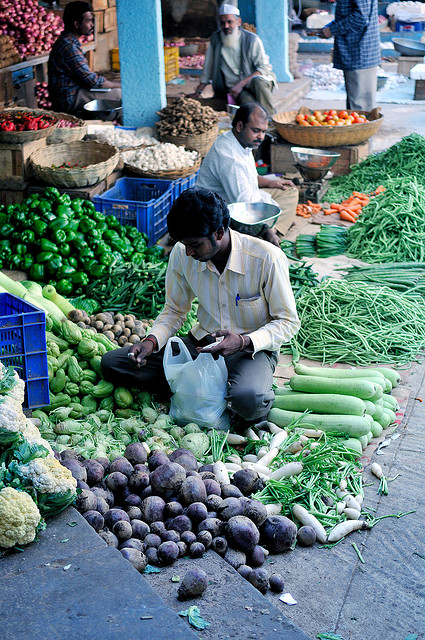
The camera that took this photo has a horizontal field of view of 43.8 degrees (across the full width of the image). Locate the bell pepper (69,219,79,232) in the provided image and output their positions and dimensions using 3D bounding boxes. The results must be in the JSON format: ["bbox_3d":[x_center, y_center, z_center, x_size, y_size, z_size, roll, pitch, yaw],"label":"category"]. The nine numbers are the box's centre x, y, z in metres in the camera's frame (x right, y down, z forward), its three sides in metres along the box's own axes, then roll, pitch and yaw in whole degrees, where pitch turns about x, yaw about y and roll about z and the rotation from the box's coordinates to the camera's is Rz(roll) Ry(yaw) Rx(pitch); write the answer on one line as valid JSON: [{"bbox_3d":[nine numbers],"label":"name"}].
[{"bbox_3d":[-1.213,-0.822,4.608,0.103,0.106,0.178,-1,1,-20],"label":"bell pepper"}]

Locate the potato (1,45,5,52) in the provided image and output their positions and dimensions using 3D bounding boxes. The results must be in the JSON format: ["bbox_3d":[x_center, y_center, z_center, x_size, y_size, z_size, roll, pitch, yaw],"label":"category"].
[{"bbox_3d":[-3.240,-4.169,8.141,0.050,0.081,0.073,1,11,24],"label":"potato"}]

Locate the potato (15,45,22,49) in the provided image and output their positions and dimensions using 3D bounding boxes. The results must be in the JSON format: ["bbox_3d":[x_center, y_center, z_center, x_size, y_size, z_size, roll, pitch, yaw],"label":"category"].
[{"bbox_3d":[-3.322,-4.665,9.047,0.092,0.064,0.029,-2,12,-12],"label":"potato"}]

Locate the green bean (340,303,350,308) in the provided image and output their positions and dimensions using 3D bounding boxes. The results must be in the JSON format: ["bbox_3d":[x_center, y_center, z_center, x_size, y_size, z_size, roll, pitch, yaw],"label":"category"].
[{"bbox_3d":[1.038,-0.110,4.164,0.080,0.026,0.035,-4,11,-23],"label":"green bean"}]

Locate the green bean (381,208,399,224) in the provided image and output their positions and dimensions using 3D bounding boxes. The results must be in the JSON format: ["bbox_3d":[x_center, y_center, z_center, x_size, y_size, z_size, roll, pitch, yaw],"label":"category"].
[{"bbox_3d":[1.883,-1.111,5.607,0.050,0.065,0.276,-37,61,-9],"label":"green bean"}]

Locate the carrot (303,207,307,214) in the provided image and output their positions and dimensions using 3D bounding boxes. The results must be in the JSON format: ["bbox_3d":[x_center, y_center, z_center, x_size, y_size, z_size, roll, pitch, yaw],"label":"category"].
[{"bbox_3d":[1.151,-1.356,6.600,0.025,0.069,0.075,9,7,-9],"label":"carrot"}]

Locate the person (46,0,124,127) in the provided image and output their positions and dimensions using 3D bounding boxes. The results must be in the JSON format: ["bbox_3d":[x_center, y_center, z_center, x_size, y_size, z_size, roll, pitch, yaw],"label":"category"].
[{"bbox_3d":[-1.902,-3.770,7.761,0.910,1.717,0.703,-5,13,-25],"label":"person"}]

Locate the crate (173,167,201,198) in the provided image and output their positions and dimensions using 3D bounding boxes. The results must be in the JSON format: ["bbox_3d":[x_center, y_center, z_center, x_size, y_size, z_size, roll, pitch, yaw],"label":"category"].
[{"bbox_3d":[-0.268,-1.520,5.869,0.172,0.305,0.642,2,10,10],"label":"crate"}]

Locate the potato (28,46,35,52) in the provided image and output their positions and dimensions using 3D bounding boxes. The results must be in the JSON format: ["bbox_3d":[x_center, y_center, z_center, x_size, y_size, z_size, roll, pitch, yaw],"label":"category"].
[{"bbox_3d":[-3.176,-4.734,9.268,0.052,0.077,0.094,44,30,2],"label":"potato"}]

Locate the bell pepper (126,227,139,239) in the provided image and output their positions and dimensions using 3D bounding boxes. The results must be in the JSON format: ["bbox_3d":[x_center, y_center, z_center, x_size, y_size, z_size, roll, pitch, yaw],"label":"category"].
[{"bbox_3d":[-0.749,-0.802,4.982,0.114,0.103,0.122,19,-6,-7],"label":"bell pepper"}]

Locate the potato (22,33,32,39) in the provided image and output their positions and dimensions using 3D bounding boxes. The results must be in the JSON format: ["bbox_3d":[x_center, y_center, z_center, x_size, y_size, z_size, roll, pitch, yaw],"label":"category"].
[{"bbox_3d":[-3.200,-4.859,9.062,0.146,0.075,0.089,-2,11,-10],"label":"potato"}]

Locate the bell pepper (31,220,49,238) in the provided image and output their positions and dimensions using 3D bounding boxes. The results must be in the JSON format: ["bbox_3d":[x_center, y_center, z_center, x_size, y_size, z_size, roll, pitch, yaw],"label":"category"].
[{"bbox_3d":[-1.474,-0.765,4.494,0.103,0.096,0.134,16,37,-56],"label":"bell pepper"}]

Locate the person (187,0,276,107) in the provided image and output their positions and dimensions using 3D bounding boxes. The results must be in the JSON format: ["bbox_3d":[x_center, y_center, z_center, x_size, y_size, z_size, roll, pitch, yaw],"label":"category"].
[{"bbox_3d":[0.323,-3.966,8.275,0.883,1.330,1.177,-6,13,-29],"label":"person"}]

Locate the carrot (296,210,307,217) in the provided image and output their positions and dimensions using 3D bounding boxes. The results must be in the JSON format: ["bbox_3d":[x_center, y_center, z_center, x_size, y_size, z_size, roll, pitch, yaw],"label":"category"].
[{"bbox_3d":[1.076,-1.311,6.534,0.161,0.039,0.041,11,12,-13],"label":"carrot"}]

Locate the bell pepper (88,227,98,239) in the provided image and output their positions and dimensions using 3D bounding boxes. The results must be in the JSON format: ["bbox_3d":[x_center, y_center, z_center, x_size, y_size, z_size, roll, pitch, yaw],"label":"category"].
[{"bbox_3d":[-1.054,-0.762,4.630,0.081,0.086,0.079,-2,11,-11],"label":"bell pepper"}]

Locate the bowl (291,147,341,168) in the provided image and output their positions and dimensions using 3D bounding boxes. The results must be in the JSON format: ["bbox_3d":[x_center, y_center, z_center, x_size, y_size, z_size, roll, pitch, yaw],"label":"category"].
[{"bbox_3d":[1.248,-2.015,6.584,0.464,0.160,0.421,9,26,17],"label":"bowl"}]

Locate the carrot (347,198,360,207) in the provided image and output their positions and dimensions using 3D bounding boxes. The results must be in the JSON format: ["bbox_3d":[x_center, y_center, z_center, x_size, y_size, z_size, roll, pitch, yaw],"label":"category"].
[{"bbox_3d":[1.771,-1.482,6.664,0.061,0.069,0.222,-10,23,41],"label":"carrot"}]

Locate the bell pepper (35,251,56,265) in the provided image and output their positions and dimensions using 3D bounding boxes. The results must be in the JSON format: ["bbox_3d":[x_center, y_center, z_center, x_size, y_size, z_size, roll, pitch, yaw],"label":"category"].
[{"bbox_3d":[-1.382,-0.512,4.369,0.131,0.047,0.096,-23,31,-8],"label":"bell pepper"}]

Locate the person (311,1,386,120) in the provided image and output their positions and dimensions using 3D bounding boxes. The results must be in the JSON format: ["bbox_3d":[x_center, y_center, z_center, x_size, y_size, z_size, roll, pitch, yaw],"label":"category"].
[{"bbox_3d":[2.233,-4.189,8.453,0.800,1.673,0.742,-8,14,-36],"label":"person"}]

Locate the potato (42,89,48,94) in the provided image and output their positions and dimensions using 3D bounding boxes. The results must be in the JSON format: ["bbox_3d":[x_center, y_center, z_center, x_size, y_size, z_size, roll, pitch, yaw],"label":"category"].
[{"bbox_3d":[-3.017,-4.087,9.484,0.041,0.091,0.087,5,12,24],"label":"potato"}]

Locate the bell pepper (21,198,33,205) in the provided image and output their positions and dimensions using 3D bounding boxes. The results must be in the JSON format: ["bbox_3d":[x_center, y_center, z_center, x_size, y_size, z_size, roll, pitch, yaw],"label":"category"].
[{"bbox_3d":[-1.679,-1.062,4.764,0.093,0.033,0.095,-4,22,48],"label":"bell pepper"}]

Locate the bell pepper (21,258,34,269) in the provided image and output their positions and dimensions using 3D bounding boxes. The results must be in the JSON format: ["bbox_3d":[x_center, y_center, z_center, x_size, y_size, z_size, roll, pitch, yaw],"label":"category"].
[{"bbox_3d":[-1.545,-0.467,4.392,0.057,0.093,0.070,11,44,-45],"label":"bell pepper"}]

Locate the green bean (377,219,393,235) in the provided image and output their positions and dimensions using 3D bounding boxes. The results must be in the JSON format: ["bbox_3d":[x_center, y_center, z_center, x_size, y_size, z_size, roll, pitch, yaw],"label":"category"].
[{"bbox_3d":[1.801,-0.987,5.541,0.056,0.068,0.258,22,60,25],"label":"green bean"}]

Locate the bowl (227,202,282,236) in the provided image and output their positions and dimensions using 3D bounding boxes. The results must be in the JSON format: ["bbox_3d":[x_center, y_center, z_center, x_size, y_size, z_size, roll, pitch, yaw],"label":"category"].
[{"bbox_3d":[0.332,-0.879,4.476,0.443,0.160,0.450,-1,33,1],"label":"bowl"}]

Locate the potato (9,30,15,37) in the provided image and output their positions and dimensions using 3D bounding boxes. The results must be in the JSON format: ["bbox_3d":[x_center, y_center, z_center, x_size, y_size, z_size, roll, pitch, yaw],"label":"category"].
[{"bbox_3d":[-3.387,-4.794,8.874,0.100,0.089,0.052,1,1,-12],"label":"potato"}]

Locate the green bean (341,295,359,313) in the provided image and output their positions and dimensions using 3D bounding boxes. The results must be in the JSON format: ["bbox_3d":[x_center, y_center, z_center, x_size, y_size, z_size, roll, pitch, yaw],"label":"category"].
[{"bbox_3d":[1.099,-0.137,4.215,0.285,0.040,0.049,-41,30,-27],"label":"green bean"}]

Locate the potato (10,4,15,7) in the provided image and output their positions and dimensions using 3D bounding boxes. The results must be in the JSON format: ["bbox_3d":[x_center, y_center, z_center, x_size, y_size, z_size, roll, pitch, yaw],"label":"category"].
[{"bbox_3d":[-3.279,-5.127,8.628,0.019,0.048,0.085,4,11,21],"label":"potato"}]

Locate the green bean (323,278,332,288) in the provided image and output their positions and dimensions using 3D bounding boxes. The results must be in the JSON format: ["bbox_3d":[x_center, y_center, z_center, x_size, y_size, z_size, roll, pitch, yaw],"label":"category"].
[{"bbox_3d":[0.948,-0.296,4.361,0.018,0.075,0.075,24,31,-3],"label":"green bean"}]

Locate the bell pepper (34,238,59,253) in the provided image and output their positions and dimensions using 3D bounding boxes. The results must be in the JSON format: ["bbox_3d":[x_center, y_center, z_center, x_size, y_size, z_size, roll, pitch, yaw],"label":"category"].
[{"bbox_3d":[-1.391,-0.608,4.400,0.175,0.095,0.071,8,-31,-30],"label":"bell pepper"}]

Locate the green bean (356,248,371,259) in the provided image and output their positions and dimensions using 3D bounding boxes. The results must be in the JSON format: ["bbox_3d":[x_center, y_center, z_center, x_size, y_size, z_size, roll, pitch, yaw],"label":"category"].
[{"bbox_3d":[1.541,-0.682,5.419,0.124,0.029,0.117,-40,1,-36],"label":"green bean"}]

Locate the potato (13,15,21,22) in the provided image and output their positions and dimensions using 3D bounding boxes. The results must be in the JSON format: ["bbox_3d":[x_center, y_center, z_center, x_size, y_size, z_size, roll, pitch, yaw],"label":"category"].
[{"bbox_3d":[-3.241,-4.981,8.757,0.086,0.044,0.085,21,41,34],"label":"potato"}]

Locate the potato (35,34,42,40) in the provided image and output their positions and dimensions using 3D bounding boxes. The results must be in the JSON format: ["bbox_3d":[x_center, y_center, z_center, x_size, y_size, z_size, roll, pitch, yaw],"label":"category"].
[{"bbox_3d":[-3.063,-4.955,9.275,0.068,0.080,0.042,10,6,12],"label":"potato"}]

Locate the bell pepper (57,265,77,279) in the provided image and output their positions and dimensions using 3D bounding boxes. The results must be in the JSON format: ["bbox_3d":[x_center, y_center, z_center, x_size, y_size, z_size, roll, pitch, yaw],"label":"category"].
[{"bbox_3d":[-1.204,-0.391,4.337,0.146,0.109,0.074,-3,11,-15],"label":"bell pepper"}]

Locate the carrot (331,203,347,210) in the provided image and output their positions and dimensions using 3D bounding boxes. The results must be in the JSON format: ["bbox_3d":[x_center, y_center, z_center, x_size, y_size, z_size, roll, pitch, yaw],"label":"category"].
[{"bbox_3d":[1.581,-1.418,6.640,0.166,0.054,0.083,11,51,38],"label":"carrot"}]

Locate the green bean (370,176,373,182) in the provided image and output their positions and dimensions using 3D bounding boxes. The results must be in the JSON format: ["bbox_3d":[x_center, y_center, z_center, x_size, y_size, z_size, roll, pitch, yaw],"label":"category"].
[{"bbox_3d":[2.175,-1.935,7.253,0.033,0.063,0.056,1,11,7],"label":"green bean"}]

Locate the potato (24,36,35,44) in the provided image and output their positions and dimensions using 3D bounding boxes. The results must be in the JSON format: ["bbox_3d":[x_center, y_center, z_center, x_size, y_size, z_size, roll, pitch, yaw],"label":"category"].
[{"bbox_3d":[-3.175,-4.806,9.110,0.100,0.058,0.130,-21,-16,39],"label":"potato"}]

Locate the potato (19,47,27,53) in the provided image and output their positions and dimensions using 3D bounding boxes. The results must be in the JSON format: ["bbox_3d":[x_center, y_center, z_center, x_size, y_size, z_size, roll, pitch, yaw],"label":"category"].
[{"bbox_3d":[-3.281,-4.632,9.089,0.079,0.046,0.093,-3,-15,-8],"label":"potato"}]

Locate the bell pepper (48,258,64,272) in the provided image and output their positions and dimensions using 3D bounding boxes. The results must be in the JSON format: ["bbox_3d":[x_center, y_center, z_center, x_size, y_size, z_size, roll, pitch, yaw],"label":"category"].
[{"bbox_3d":[-1.304,-0.450,4.383,0.120,0.083,0.120,6,-4,-25],"label":"bell pepper"}]

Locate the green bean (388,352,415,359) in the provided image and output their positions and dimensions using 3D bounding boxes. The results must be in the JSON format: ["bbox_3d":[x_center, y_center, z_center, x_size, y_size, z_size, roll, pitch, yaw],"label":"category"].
[{"bbox_3d":[1.365,0.258,3.822,0.210,0.031,0.036,-4,11,-22],"label":"green bean"}]

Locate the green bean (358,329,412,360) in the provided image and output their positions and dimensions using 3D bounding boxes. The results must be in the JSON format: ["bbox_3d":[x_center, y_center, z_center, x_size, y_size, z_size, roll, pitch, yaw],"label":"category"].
[{"bbox_3d":[1.246,0.167,3.812,0.475,0.080,0.387,4,15,26],"label":"green bean"}]

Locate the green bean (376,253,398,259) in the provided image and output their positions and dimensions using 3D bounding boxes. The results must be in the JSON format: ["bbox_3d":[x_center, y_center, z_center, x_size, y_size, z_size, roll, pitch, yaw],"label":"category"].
[{"bbox_3d":[1.724,-0.646,5.229,0.190,0.045,0.043,-18,16,-4],"label":"green bean"}]

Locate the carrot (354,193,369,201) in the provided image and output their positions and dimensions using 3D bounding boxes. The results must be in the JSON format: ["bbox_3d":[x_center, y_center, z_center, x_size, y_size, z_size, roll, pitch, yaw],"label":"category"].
[{"bbox_3d":[1.901,-1.560,6.734,0.214,0.061,0.059,25,-10,11],"label":"carrot"}]

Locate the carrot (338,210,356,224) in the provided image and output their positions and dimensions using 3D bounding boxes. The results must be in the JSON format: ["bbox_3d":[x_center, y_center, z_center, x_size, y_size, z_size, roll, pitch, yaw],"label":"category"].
[{"bbox_3d":[1.623,-1.248,6.454,0.224,0.112,0.102,36,1,24],"label":"carrot"}]

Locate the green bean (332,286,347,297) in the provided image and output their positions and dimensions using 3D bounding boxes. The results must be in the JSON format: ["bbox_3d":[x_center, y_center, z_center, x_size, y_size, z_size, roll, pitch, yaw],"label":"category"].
[{"bbox_3d":[1.026,-0.227,4.278,0.114,0.075,0.122,2,10,12],"label":"green bean"}]

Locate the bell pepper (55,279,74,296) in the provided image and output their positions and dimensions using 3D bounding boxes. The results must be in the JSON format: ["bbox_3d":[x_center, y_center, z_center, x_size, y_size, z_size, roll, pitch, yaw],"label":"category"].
[{"bbox_3d":[-1.206,-0.257,4.292,0.149,0.135,0.097,-3,11,-16],"label":"bell pepper"}]

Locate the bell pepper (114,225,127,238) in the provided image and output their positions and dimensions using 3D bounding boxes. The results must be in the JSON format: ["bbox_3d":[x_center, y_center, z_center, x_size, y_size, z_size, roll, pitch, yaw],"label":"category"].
[{"bbox_3d":[-0.843,-0.816,4.866,0.093,0.055,0.114,-2,56,5],"label":"bell pepper"}]

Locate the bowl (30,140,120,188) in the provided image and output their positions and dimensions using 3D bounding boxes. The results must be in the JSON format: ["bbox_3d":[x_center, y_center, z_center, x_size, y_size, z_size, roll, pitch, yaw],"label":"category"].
[{"bbox_3d":[-1.375,-1.602,5.419,0.786,0.283,0.747,0,28,0],"label":"bowl"}]

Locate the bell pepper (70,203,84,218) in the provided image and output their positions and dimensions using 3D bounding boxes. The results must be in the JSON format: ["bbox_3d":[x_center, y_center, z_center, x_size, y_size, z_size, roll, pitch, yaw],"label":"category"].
[{"bbox_3d":[-1.214,-0.978,4.726,0.096,0.127,0.059,-42,-3,-22],"label":"bell pepper"}]

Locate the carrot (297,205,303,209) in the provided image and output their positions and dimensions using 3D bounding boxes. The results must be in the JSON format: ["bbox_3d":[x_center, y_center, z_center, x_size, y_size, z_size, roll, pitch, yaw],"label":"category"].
[{"bbox_3d":[1.100,-1.422,6.674,0.062,0.050,0.089,2,10,11],"label":"carrot"}]

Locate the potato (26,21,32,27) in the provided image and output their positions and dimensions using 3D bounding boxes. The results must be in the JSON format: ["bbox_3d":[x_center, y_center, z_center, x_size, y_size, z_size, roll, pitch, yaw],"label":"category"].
[{"bbox_3d":[-3.124,-4.998,8.967,0.066,0.073,0.046,-2,-1,-4],"label":"potato"}]

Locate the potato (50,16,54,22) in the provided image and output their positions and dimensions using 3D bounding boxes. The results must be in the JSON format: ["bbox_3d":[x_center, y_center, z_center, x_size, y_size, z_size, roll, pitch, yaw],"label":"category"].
[{"bbox_3d":[-2.865,-5.310,9.352,0.045,0.094,0.092,7,13,33],"label":"potato"}]

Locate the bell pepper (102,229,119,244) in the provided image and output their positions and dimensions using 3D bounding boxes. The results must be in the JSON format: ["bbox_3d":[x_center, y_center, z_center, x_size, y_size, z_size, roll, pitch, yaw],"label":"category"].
[{"bbox_3d":[-0.923,-0.749,4.752,0.113,0.125,0.072,-4,-12,0],"label":"bell pepper"}]

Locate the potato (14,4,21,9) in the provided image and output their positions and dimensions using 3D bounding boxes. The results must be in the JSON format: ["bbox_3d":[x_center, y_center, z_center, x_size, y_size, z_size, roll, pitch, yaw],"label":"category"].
[{"bbox_3d":[-3.214,-5.140,8.684,0.083,0.074,0.095,8,6,11],"label":"potato"}]

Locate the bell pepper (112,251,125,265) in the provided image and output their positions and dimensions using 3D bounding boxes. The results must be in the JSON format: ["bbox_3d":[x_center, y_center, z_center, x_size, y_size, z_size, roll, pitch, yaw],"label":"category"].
[{"bbox_3d":[-0.823,-0.536,4.582,0.095,0.106,0.170,-2,10,-10],"label":"bell pepper"}]

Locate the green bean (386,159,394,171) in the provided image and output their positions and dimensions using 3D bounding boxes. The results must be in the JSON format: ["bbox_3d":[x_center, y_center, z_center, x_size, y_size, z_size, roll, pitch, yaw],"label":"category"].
[{"bbox_3d":[2.429,-2.122,7.247,0.052,0.223,0.037,29,-20,15],"label":"green bean"}]

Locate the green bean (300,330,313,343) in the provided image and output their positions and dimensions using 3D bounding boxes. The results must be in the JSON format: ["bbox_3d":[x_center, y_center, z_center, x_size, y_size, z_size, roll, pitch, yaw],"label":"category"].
[{"bbox_3d":[0.713,0.114,4.051,0.024,0.023,0.164,4,36,-43],"label":"green bean"}]

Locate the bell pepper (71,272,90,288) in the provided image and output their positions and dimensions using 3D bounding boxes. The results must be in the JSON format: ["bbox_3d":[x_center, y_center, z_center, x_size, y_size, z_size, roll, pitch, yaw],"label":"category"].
[{"bbox_3d":[-1.094,-0.309,4.363,0.155,0.112,0.123,-4,-6,-3],"label":"bell pepper"}]

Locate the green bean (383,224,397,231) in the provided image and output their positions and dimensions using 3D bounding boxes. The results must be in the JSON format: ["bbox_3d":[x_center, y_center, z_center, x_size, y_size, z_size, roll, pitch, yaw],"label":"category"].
[{"bbox_3d":[1.855,-0.959,5.530,0.076,0.017,0.071,-25,4,-3],"label":"green bean"}]

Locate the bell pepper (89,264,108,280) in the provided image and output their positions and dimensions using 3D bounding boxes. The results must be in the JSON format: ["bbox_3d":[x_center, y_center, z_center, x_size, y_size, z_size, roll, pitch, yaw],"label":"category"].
[{"bbox_3d":[-0.958,-0.399,4.419,0.153,0.120,0.117,-3,11,-14],"label":"bell pepper"}]
